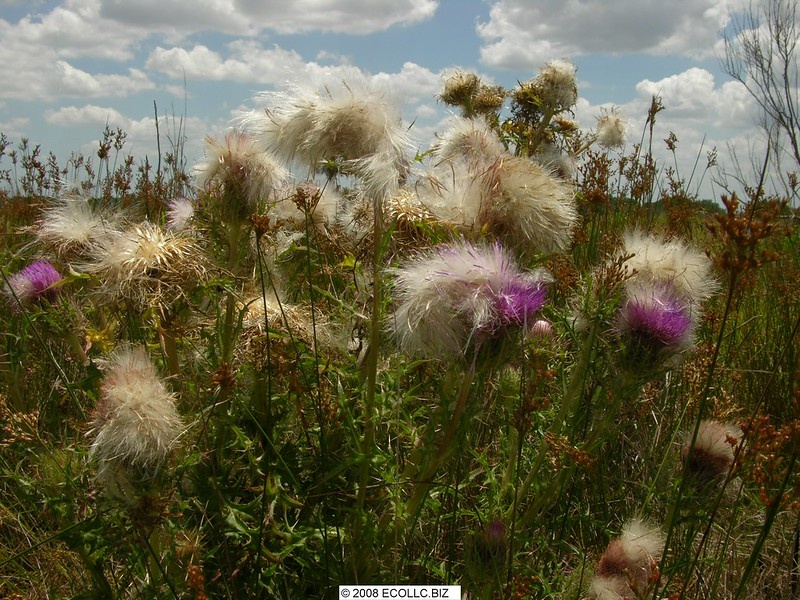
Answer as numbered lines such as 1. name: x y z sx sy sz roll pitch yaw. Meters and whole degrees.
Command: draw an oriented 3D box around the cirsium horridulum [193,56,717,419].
1. cirsium horridulum: 0.182 -0.025 3.508 1.691 1.217 1.794 3 37 -16
